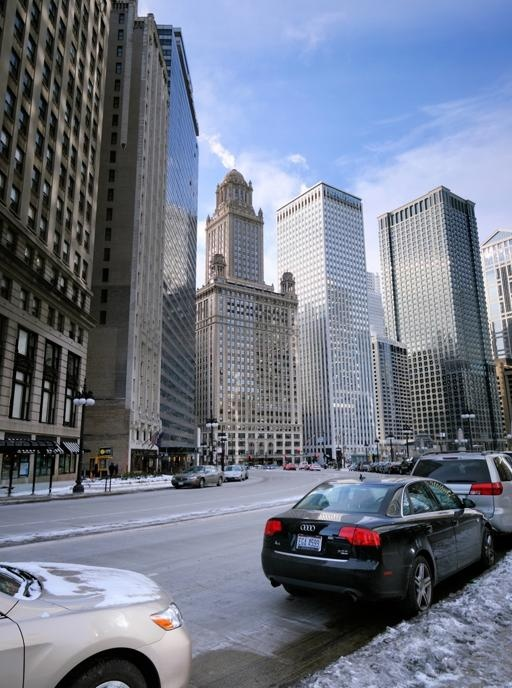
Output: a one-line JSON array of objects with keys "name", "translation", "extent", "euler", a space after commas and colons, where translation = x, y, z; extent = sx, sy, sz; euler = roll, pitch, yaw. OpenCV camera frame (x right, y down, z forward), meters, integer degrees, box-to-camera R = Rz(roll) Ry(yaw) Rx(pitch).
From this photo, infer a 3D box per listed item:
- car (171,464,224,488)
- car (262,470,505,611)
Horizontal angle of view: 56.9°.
[{"name": "car", "translation": [-3.635, 8.449, 30.164], "extent": [1.701, 1.298, 3.534], "euler": [-2, -12, 27]}, {"name": "car", "translation": [1.710, 2.151, 5.602], "extent": [1.251, 0.964, 2.827], "euler": [-12, -15, 42]}]
